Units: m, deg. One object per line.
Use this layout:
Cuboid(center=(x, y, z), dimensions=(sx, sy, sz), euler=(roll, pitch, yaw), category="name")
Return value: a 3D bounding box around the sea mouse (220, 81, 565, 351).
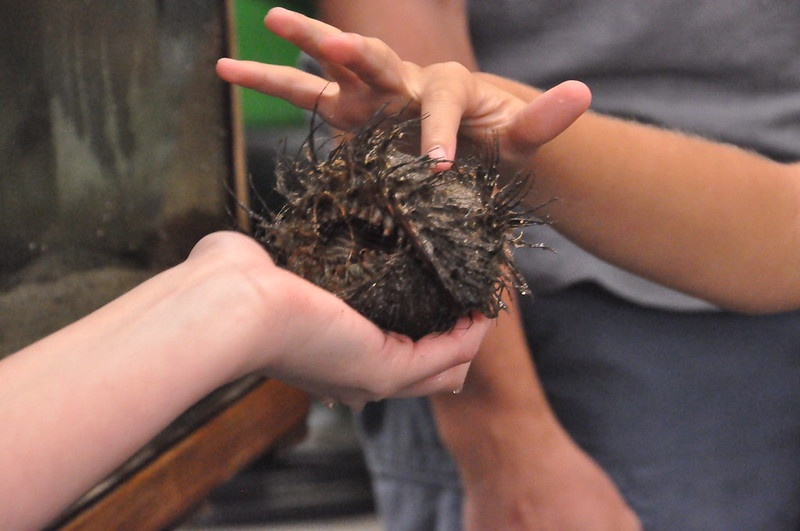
Cuboid(center=(-0.005, -0.040, 1.380), dimensions=(0.440, 0.249, 0.380), euler=(31, 56, 6), category="sea mouse")
